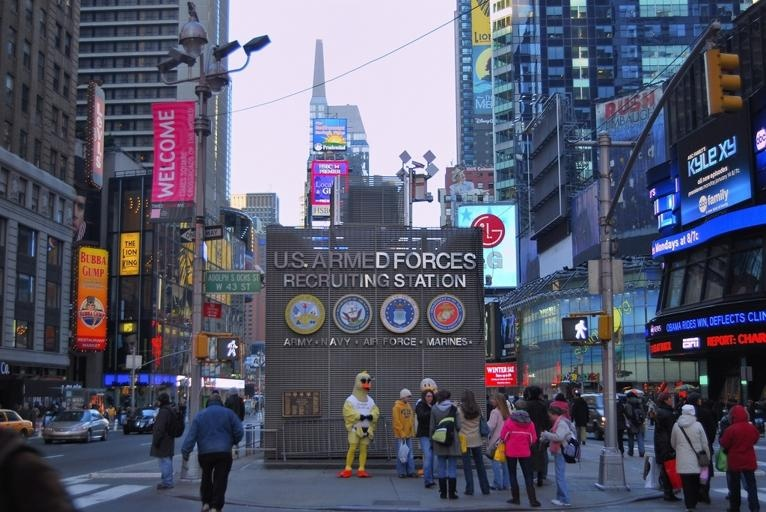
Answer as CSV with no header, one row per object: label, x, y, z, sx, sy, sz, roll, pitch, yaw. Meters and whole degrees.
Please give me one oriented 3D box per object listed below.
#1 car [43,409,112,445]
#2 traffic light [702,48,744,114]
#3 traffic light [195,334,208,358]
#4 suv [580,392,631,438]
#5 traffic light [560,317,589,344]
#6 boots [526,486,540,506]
car,-20.402,11.294,74.439,2.903,2.118,6.885,1,-7,3
traffic light,14.608,-7.527,47.802,1.359,2.801,1.032,-1,-12,6
traffic light,-8.712,4.293,53.578,0.692,1.228,0.420,4,-13,-20
suv,14.366,9.731,69.357,2.670,2.784,5.036,1,-16,-5
traffic light,9.214,3.439,53.112,1.166,1.199,0.839,-2,-12,6
boots,6.667,10.616,49.559,0.625,0.973,0.360,7,-14,-29
